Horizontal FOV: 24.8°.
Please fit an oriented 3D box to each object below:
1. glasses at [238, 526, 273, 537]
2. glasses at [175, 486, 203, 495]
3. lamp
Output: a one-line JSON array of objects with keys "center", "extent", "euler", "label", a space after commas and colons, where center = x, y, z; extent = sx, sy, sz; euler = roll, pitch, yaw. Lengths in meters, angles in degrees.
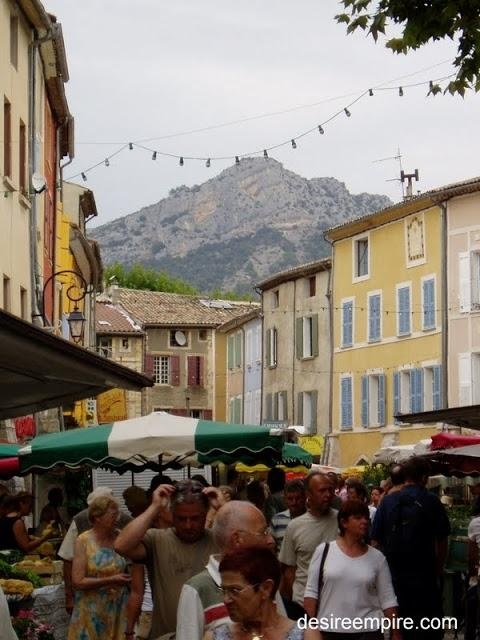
[{"center": [0.070, 0.866, 4.424], "extent": [0.067, 0.039, 0.202], "euler": [-5, -9, 26], "label": "glasses"}, {"center": [-0.250, 0.824, 5.264], "extent": [0.066, 0.028, 0.054], "euler": [-4, 4, -9], "label": "glasses"}, {"center": [-3.157, -0.201, 19.492], "extent": [0.818, 1.504, 0.379], "euler": [-2, -23, -10], "label": "lamp"}]
